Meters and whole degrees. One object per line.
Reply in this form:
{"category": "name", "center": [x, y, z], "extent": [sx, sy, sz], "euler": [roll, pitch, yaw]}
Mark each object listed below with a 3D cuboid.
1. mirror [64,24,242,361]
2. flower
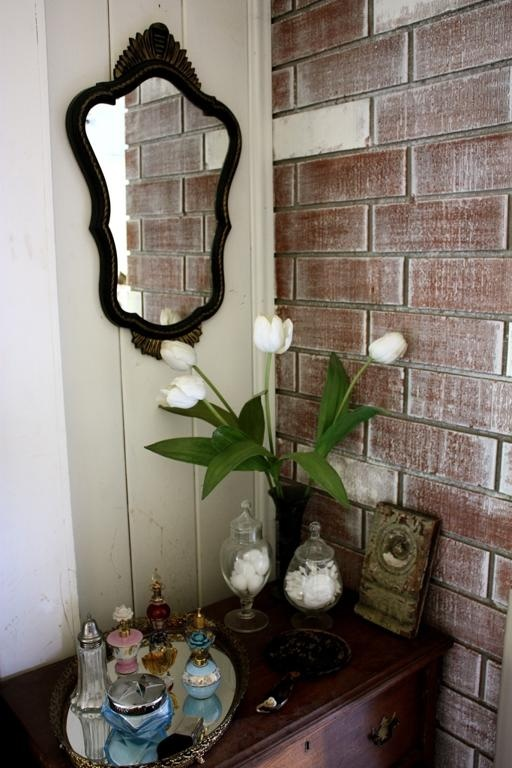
{"category": "mirror", "center": [-0.172, -0.354, 1.202], "extent": [0.096, 0.614, 0.393], "euler": [3, 7, 32]}
{"category": "flower", "center": [0.031, 0.065, 1.207], "extent": [0.427, 0.407, 0.453], "euler": [-7, 9, -44]}
